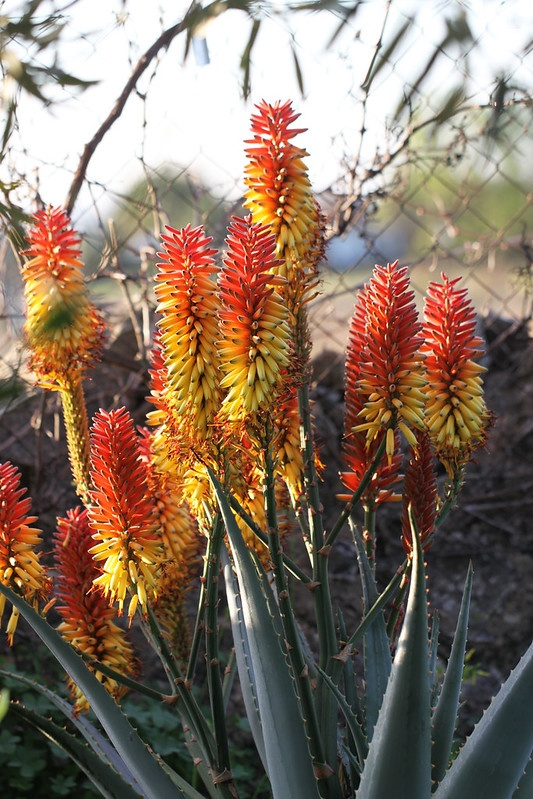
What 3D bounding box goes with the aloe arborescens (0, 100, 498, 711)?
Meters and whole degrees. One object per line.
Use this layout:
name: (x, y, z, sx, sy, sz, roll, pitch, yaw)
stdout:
aloe arborescens: (-0.033, 0.066, 2.094, 1.047, 1.079, 0.642, -7, -3, 3)
